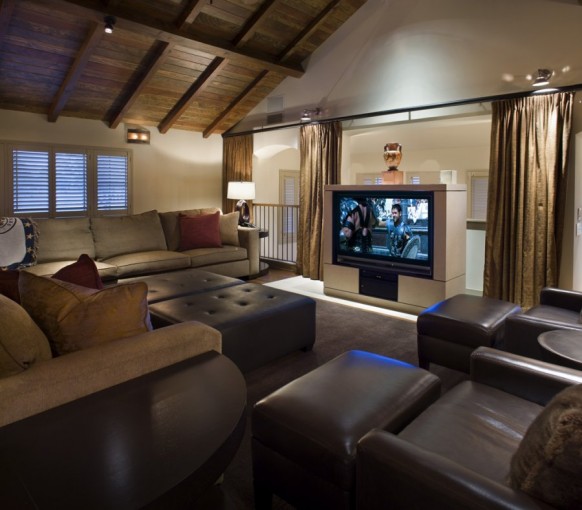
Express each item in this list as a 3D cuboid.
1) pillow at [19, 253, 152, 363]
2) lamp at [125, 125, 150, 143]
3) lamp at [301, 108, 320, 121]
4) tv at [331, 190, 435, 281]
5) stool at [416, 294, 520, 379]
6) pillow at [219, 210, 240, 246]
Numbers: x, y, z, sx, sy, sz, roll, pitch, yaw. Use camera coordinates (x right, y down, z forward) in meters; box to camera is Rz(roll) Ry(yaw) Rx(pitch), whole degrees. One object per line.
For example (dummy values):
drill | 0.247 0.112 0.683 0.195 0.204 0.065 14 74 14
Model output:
pillow | -0.755 0.199 1.620 0.331 0.123 0.355 -5 35 -22
lamp | -2.163 -1.692 6.214 0.375 0.256 0.169 3 7 -39
lamp | 0.260 -1.826 5.711 0.220 0.082 0.157 -17 24 -34
tv | 0.963 -0.201 4.363 0.034 0.668 0.840 -4 6 -44
stool | 1.123 0.453 2.834 0.401 0.414 0.586 6 14 40
pillow | -0.817 -0.332 5.763 0.383 0.467 0.155 -5 -2 10
